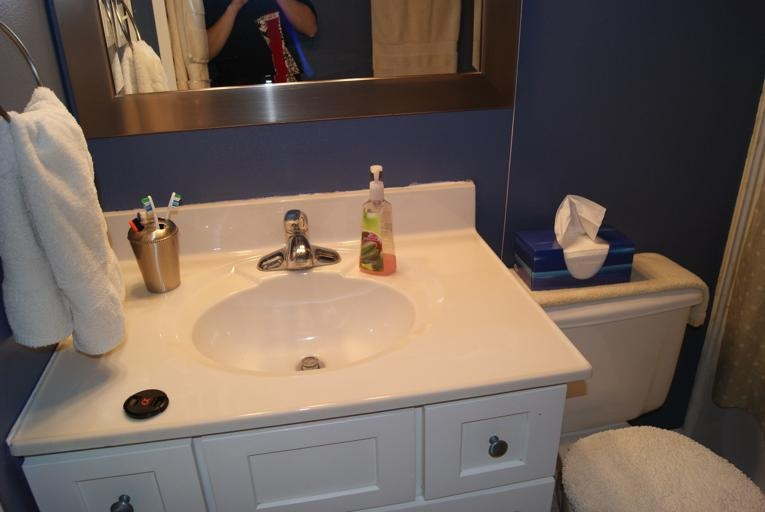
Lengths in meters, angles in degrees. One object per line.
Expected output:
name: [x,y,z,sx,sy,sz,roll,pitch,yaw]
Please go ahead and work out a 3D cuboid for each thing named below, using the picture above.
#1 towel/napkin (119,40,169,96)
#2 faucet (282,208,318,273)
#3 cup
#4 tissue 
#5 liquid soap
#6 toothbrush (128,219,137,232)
towel/napkin: [-0.623,-0.490,1.456,0.108,0.123,0.023,-3,27,-3]
faucet: [-0.233,-0.035,1.547,0.132,0.186,0.097,4,-16,-31]
cup: [-0.576,-0.003,1.439,0.107,0.190,0.060,-15,29,-25]
tissue : [0.551,-0.046,1.666,0.378,0.131,0.309,-5,23,-8]
liquid soap: [-0.017,-0.105,1.509,0.100,0.279,0.149,-1,27,1]
toothbrush: [-0.629,-0.075,1.424,0.024,0.018,0.052,-39,9,-18]
